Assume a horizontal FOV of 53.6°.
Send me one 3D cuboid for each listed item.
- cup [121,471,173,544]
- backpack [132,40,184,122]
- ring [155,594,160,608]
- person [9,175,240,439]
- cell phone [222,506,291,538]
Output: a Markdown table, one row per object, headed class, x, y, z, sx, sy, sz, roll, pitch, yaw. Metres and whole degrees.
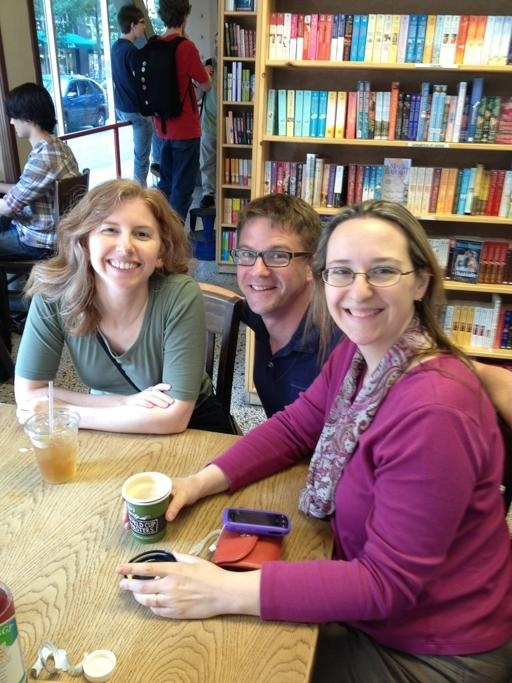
| class | x | y | z | sx | sy | sz | roll | pitch | yaw |
| --- | --- | --- | --- | --- | --- | --- | --- | --- | --- |
| cup | -0.183 | 0.273 | 0.874 | 0.102 | 0.088 | 0.106 | 1 | 21 | 0 |
| backpack | -0.869 | -2.319 | 4.673 | 0.442 | 0.626 | 0.465 | 2 | 2 | 22 |
| ring | -0.140 | 0.368 | 0.718 | 0.003 | 0.012 | 0.012 | 11 | 23 | -17 |
| person | -0.423 | -0.094 | 1.552 | 0.573 | 0.707 | 0.468 | -1 | 11 | 0 |
| cell phone | 0.000 | 0.309 | 0.863 | 0.102 | 0.023 | 0.053 | 3 | 23 | 0 |
